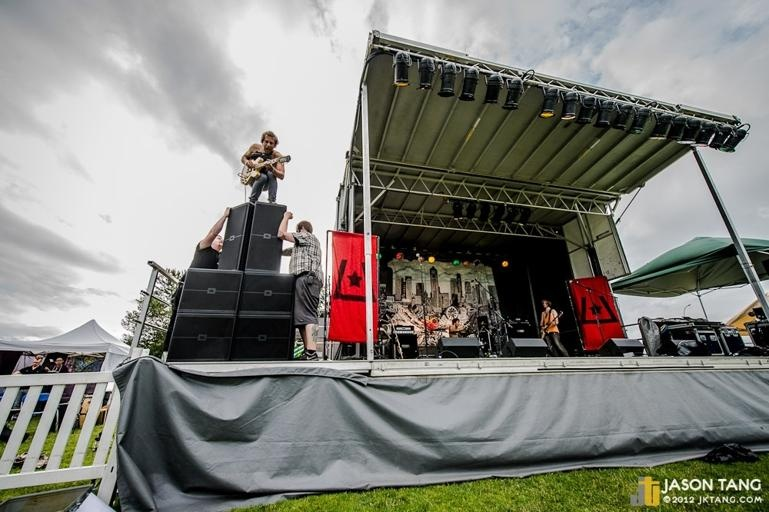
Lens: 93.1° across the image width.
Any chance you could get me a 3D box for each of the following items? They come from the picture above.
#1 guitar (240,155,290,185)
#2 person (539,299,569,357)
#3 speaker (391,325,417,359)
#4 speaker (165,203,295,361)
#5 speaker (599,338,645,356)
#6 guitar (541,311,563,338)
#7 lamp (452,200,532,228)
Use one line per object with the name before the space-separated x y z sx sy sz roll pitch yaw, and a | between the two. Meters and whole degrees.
guitar | -2.874 -1.995 8.578 1.279 0.523 0.196 -15 3 24
person | 5.141 2.179 10.944 1.036 1.968 0.305 -20 29 -32
speaker | 0.587 2.521 10.658 0.743 0.715 1.343 -5 -4 -3
speaker | -2.683 0.449 6.802 2.001 2.922 0.628 -3 -20 -2
speaker | 5.521 2.140 8.489 0.788 0.386 0.538 6 -24 -9
guitar | 4.778 1.990 10.465 0.239 0.482 0.904 -14 -29 0
lamp | 3.812 -1.571 13.876 2.779 0.822 0.835 2 -11 -1
